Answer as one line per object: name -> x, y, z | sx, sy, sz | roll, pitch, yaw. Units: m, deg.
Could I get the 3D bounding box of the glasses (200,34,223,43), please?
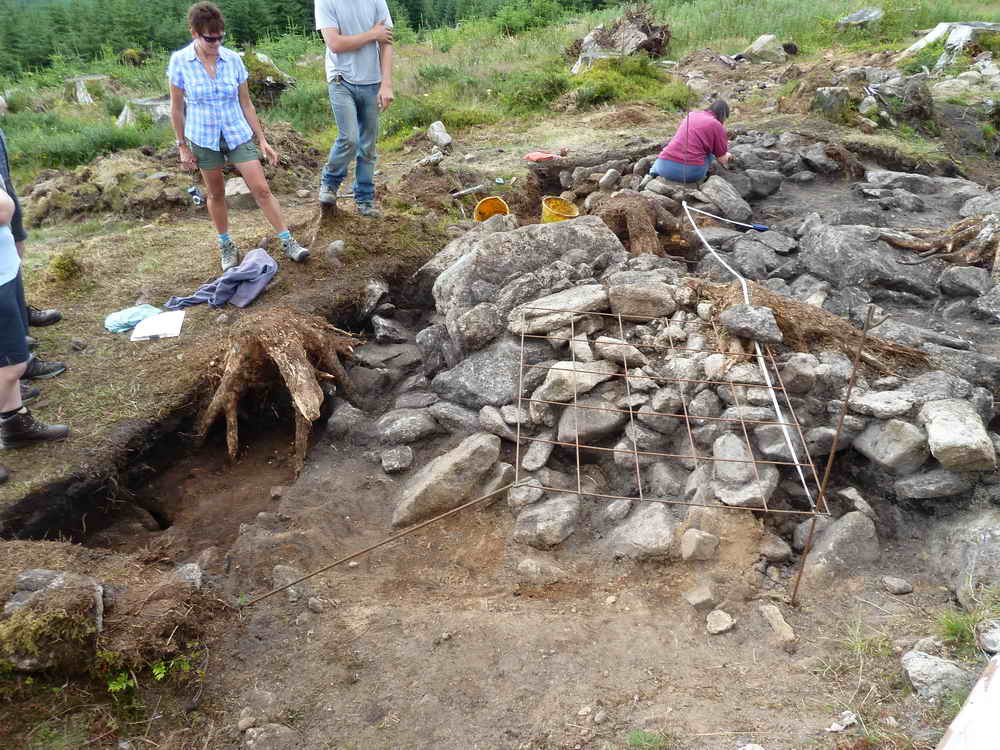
glasses -> -2.308, -2.706, 5.925 | 0.100, 0.072, 0.188 | 8, 30, 21

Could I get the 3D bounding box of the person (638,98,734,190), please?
person -> 2.230, -2.648, 8.398 | 0.779, 0.639, 1.317 | 19, 46, 26

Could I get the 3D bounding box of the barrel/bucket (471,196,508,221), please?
barrel/bucket -> -0.105, -1.820, 8.140 | 0.386, 0.263, 0.224 | 1, 30, 9

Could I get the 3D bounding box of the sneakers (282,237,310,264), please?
sneakers -> -1.900, -1.141, 6.825 | 0.350, 0.163, 0.128 | 30, 86, 49

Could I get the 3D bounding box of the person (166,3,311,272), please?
person -> -2.388, -2.003, 6.462 | 0.836, 2.265, 0.819 | -15, 31, -18

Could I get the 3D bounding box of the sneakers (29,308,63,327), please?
sneakers -> -4.012, -0.487, 6.450 | 0.291, 0.119, 0.098 | -3, 47, -26

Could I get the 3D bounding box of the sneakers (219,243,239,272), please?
sneakers -> -2.536, -1.084, 6.835 | 0.128, 0.147, 0.342 | -10, 35, -15
